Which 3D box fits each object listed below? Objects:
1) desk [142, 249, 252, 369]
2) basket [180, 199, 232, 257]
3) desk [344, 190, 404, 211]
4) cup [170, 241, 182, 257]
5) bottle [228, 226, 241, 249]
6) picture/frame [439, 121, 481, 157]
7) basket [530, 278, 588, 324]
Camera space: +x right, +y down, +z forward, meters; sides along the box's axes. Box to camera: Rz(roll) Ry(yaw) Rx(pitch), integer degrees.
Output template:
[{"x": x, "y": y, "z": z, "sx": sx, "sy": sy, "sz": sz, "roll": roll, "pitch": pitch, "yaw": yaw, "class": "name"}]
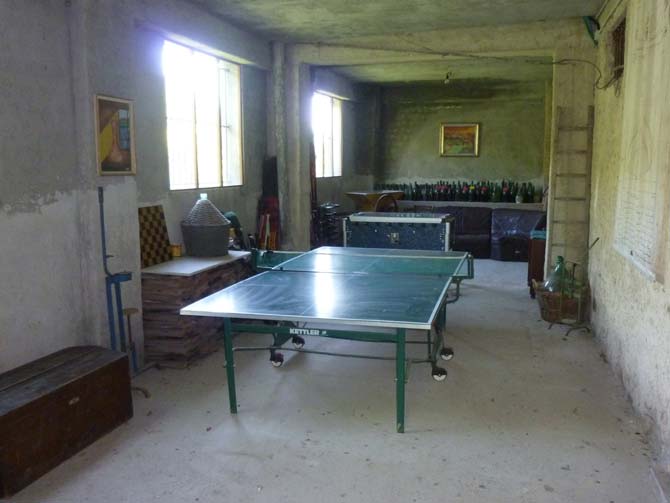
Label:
[{"x": -1.410, "y": 0.598, "z": 5.282, "sx": 0.432, "sy": 0.735, "sz": 1.122, "roll": -2, "pitch": 2, "yaw": 21, "class": "desk"}, {"x": -1.386, "y": -0.273, "z": 6.188, "sx": 0.557, "sy": 0.753, "sz": 0.610, "roll": 1, "pitch": 9, "yaw": 9, "class": "basket"}, {"x": 0.755, "y": -0.981, "z": 10.796, "sx": 0.728, "sy": 0.418, "sz": 1.215, "roll": 9, "pitch": 14, "yaw": 37, "class": "desk"}, {"x": -1.760, "y": -0.009, "z": 5.992, "sx": 0.128, "sy": 0.124, "sz": 0.132, "roll": 0, "pitch": 5, "yaw": 0, "class": "cup"}, {"x": -1.292, "y": -0.159, "z": 6.836, "sx": 0.213, "sy": 0.288, "sz": 0.231, "roll": 0, "pitch": 1, "yaw": 0, "class": "bottle"}, {"x": 2.897, "y": -2.620, "z": 12.423, "sx": 0.779, "sy": 0.710, "sz": 0.081, "roll": 2, "pitch": 3, "yaw": 18, "class": "picture/frame"}, {"x": 2.662, "y": 0.599, "z": 6.485, "sx": 0.428, "sy": 0.405, "sz": 0.576, "roll": 0, "pitch": 7, "yaw": -3, "class": "basket"}]
